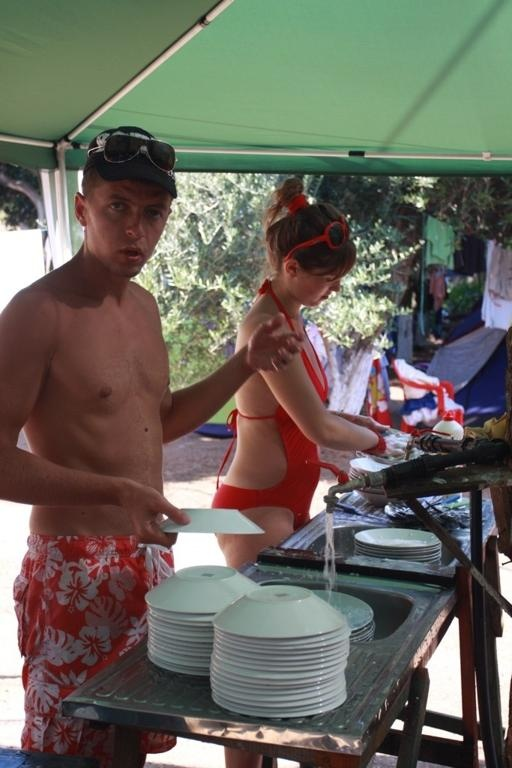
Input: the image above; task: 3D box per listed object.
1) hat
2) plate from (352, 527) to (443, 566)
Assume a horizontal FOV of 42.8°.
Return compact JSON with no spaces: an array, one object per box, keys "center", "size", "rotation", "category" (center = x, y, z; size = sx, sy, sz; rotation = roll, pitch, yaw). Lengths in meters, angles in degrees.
[{"center":[-0.334,-0.588,1.747],"size":[0.231,0.173,0.240],"rotation":[-2,10,-27],"category":"hat"},{"center":[0.472,0.553,2.188],"size":[0.272,0.106,0.274],"rotation":[-3,-1,10],"category":"plate"}]
